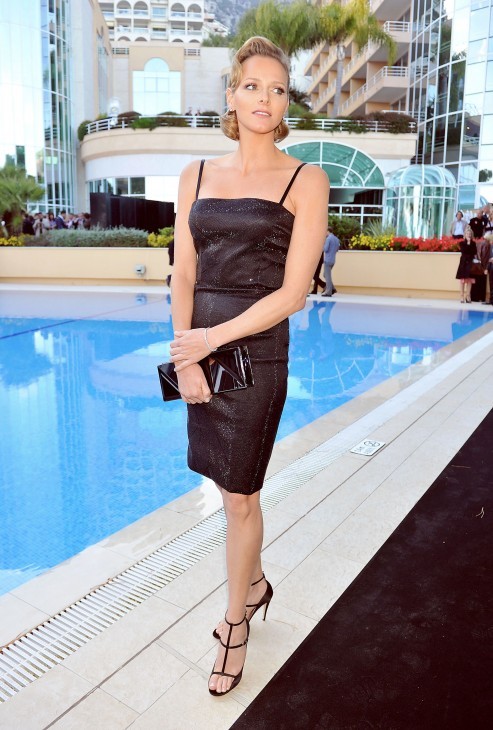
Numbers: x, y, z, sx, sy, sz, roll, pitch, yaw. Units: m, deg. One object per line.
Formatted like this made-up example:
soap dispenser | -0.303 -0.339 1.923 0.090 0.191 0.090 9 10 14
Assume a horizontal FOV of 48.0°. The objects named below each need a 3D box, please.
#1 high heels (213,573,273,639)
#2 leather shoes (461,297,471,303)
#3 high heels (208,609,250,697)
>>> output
high heels | 0.005 0.749 1.766 0.178 0.175 0.183 6 12 4
leather shoes | 5.119 -1.531 13.006 0.104 0.118 0.311 8 16 38
high heels | -0.047 0.781 1.515 0.116 0.166 0.109 3 7 -3
